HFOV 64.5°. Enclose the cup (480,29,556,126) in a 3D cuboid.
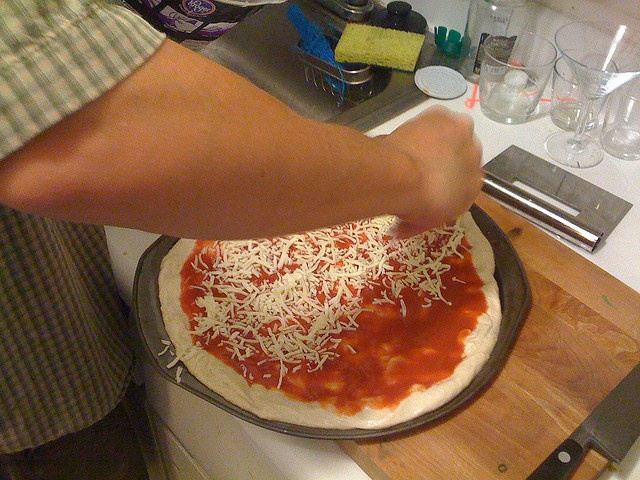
[{"bbox_3d":[0.512,-0.425,1.452,0.240,0.216,0.259,-2,48,3],"label":"cup"}]
